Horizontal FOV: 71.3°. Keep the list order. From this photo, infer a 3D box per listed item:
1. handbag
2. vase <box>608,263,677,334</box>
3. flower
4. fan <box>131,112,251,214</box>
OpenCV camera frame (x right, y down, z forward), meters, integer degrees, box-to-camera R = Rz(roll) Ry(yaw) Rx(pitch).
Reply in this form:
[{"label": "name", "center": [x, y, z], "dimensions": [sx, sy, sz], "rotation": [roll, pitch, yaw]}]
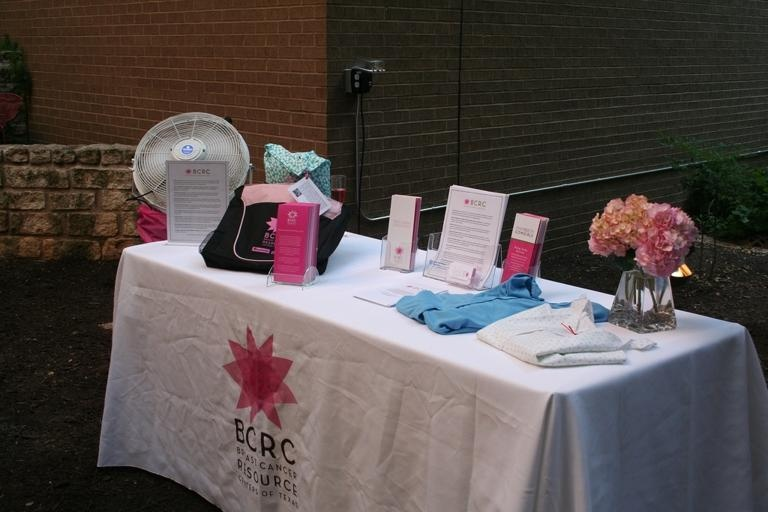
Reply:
[{"label": "handbag", "center": [-0.535, -0.115, 2.500], "dimensions": [0.627, 0.455, 0.487], "rotation": [4, 19, -7]}, {"label": "vase", "center": [0.950, 0.146, 1.933], "dimensions": [0.215, 0.231, 0.209], "rotation": [-1, 12, 12]}, {"label": "flower", "center": [0.895, -0.077, 1.842], "dimensions": [0.317, 0.255, 0.132], "rotation": [10, 15, 28]}, {"label": "fan", "center": [-1.320, -0.675, 3.728], "dimensions": [0.799, 0.772, 0.210], "rotation": [-17, -3, 11]}]
